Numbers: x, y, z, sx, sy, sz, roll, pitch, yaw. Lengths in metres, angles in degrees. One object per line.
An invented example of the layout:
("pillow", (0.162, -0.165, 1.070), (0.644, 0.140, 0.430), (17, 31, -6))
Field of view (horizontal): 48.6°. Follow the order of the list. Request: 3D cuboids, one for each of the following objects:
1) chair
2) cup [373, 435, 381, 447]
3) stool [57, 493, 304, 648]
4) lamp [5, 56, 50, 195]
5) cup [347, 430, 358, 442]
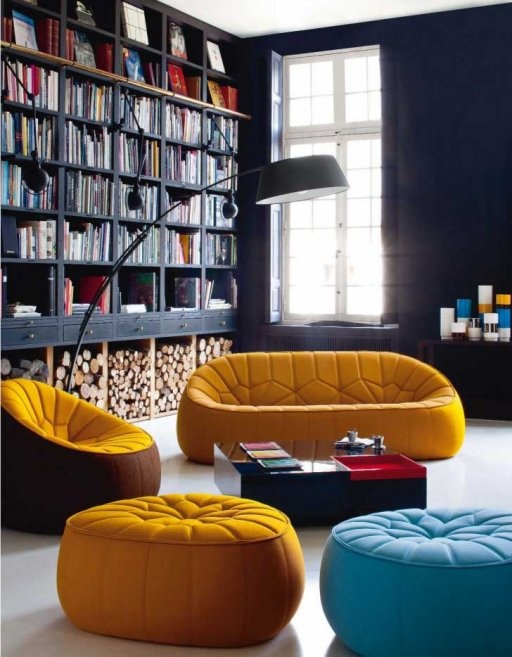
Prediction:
("chair", (-0.909, 0.643, 2.863), (0.731, 0.484, 0.760), (3, 0, -6))
("cup", (0.684, 0.630, 3.154), (0.041, 0.049, 0.045), (2, -7, 0))
("stool", (-0.242, 0.763, 1.828), (0.775, 0.347, 0.486), (4, 4, 16))
("lamp", (-1.723, -1.530, 4.191), (0.300, 1.069, 0.735), (1, 4, -24))
("cup", (0.557, 0.620, 3.244), (0.049, 0.052, 0.085), (3, 3, 4))
